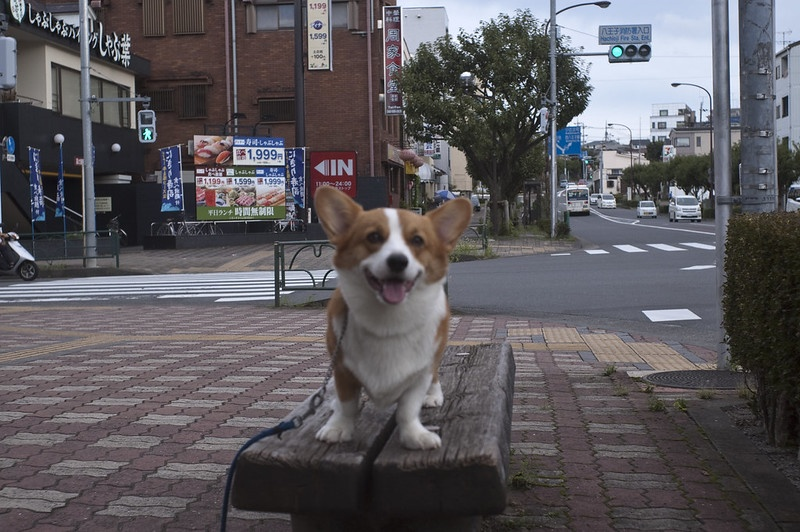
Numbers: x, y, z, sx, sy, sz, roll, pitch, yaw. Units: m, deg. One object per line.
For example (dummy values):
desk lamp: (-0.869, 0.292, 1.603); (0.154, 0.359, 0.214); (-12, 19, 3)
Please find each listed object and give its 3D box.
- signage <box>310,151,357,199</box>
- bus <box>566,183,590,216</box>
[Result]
signage: (-2.875, -3.846, 35.004); (2.274, 2.033, 0.247); (-4, 6, -30)
bus: (14.691, -5.431, 68.631); (1.857, 2.402, 5.794); (1, 10, 11)
